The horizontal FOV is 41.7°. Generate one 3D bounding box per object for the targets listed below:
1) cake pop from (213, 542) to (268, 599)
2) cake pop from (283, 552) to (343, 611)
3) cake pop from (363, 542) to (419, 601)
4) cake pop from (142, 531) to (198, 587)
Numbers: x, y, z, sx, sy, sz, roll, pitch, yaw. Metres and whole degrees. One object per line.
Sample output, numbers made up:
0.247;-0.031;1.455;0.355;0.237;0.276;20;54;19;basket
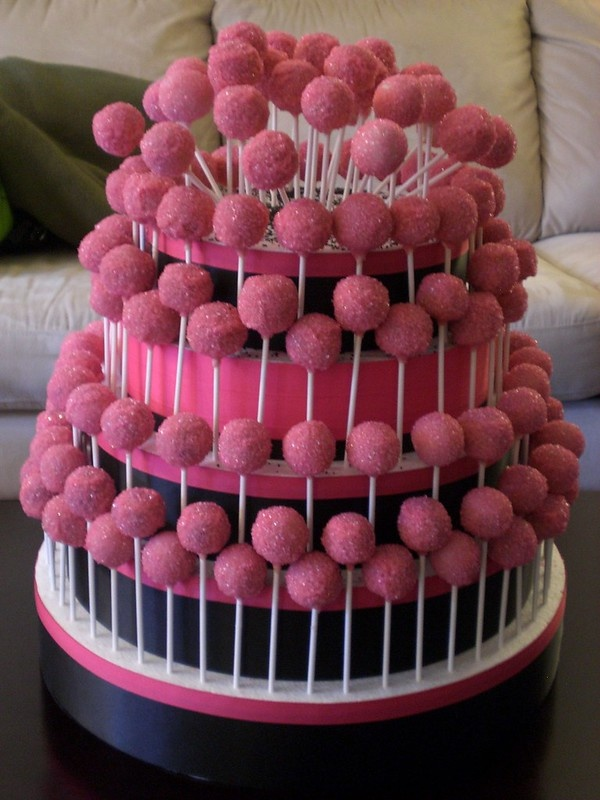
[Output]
-0.043;0.111;0.505;0.036;0.044;0.035;-13;77;8;cake pop
0.007;0.112;0.485;0.031;0.035;0.030;4;44;3;cake pop
0.058;0.110;0.508;0.034;0.023;0.040;6;61;16;cake pop
-0.084;0.103;0.508;0.032;0.037;0.021;-5;52;4;cake pop
